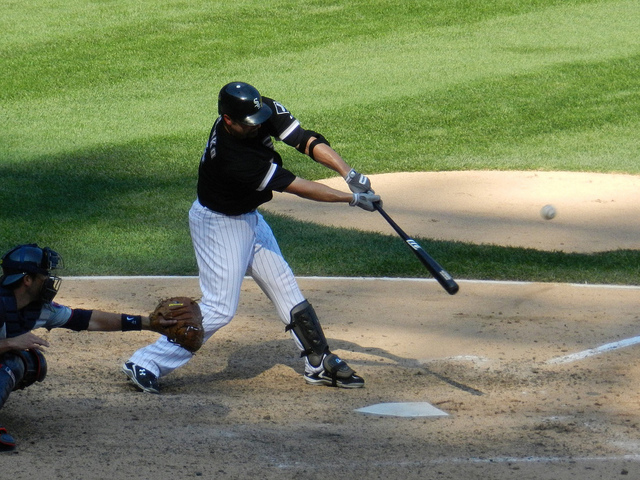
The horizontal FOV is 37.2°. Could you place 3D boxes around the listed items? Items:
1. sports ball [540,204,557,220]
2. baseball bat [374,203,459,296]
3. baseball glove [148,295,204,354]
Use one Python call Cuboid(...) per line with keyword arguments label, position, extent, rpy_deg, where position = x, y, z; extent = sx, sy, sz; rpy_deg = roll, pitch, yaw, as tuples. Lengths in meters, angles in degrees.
Cuboid(label="sports ball", position=(3.146, -0.390, 13.239), extent=(0.216, 0.168, 0.244), rpy_deg=(-4, 17, -16))
Cuboid(label="baseball bat", position=(1.121, 0.142, 11.320), extent=(2.016, 0.145, 0.188), rpy_deg=(34, 26, 22))
Cuboid(label="baseball glove", position=(-1.222, 0.739, 8.294), extent=(0.596, 0.387, 0.274), rpy_deg=(32, -10, 1))
